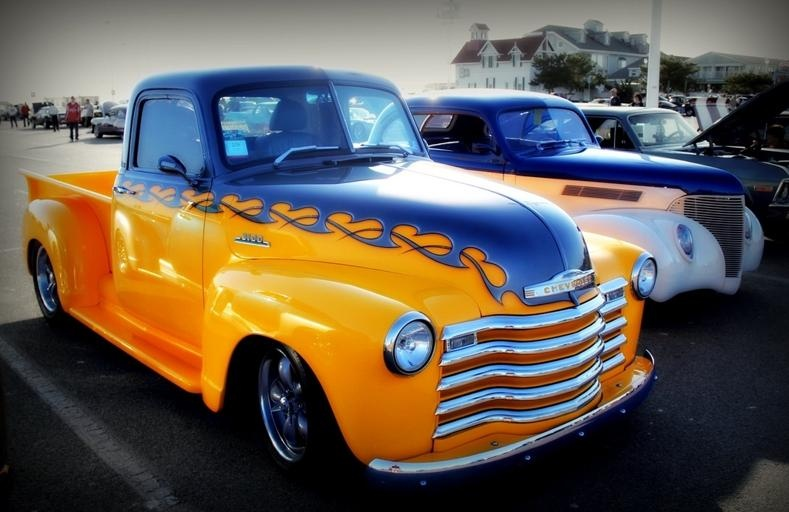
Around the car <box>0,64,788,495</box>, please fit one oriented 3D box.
[{"bbox_3d":[-1.013,-0.142,5.086,2.845,2.060,5.399,-11,16,-43],"label":"car"}]

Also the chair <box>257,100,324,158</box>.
[{"bbox_3d":[-0.814,-1.098,4.622,0.410,0.562,0.512,0,5,-25],"label":"chair"}]
